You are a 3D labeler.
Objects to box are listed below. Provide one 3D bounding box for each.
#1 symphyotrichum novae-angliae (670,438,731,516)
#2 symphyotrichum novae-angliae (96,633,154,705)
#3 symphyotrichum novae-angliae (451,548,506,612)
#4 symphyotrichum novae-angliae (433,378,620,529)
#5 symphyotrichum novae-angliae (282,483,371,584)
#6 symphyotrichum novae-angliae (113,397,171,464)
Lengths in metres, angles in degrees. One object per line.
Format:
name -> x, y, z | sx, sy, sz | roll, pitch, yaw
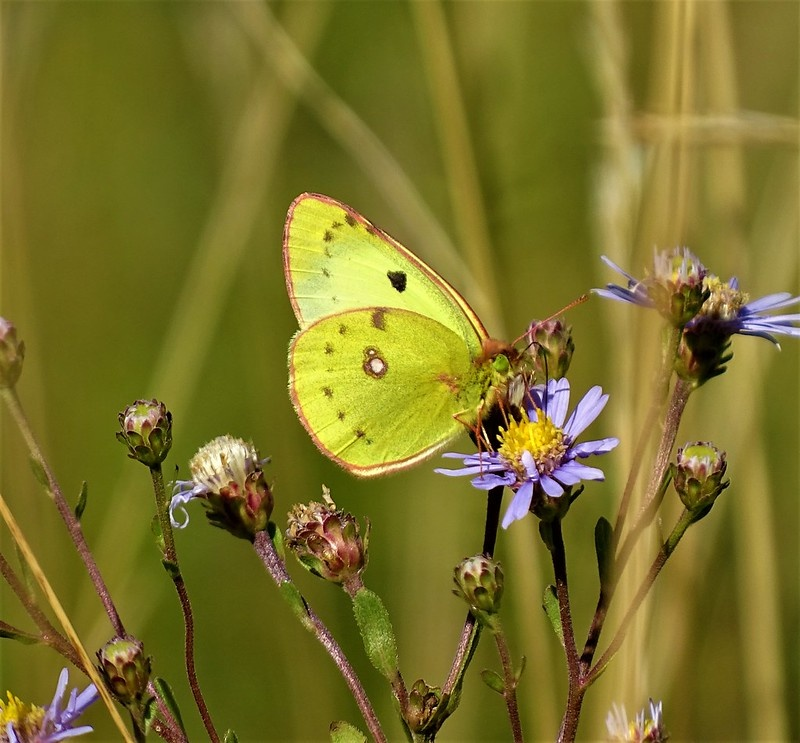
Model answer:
symphyotrichum novae-angliae -> 0.953, 0.319, 3.585 | 0.175, 0.153, 0.273 | -14, -73, -57
symphyotrichum novae-angliae -> -0.797, 0.882, 3.330 | 0.127, 0.161, 0.253 | -11, -87, -24
symphyotrichum novae-angliae -> 0.236, 0.636, 3.425 | 0.119, 0.118, 0.175 | -19, -70, -18
symphyotrichum novae-angliae -> 0.456, 0.248, 3.672 | 0.510, 0.474, 0.140 | -50, -65, -24
symphyotrichum novae-angliae -> -0.239, 0.560, 3.620 | 0.180, 0.383, 0.220 | -15, -28, -17
symphyotrichum novae-angliae -> -0.787, 0.216, 3.585 | 0.136, 0.137, 0.227 | -22, -65, -37
